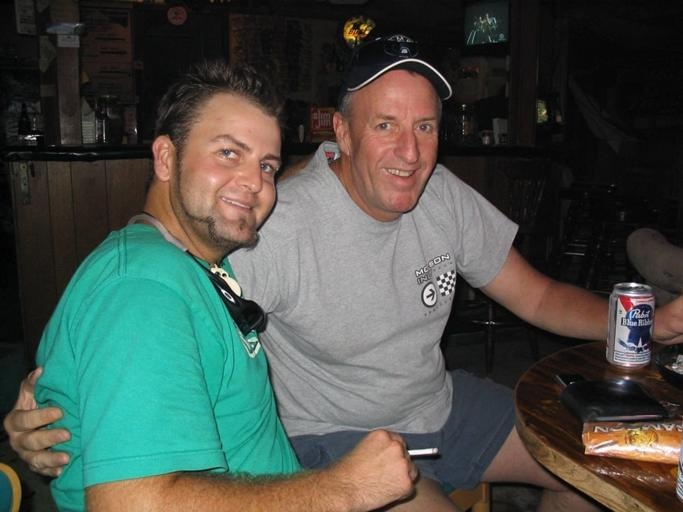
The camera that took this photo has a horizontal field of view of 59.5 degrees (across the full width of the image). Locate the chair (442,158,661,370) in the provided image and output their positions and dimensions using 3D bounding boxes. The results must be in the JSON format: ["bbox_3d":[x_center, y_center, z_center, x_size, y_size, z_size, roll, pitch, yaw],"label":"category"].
[{"bbox_3d":[1.829,0.004,5.714,1.893,2.535,1.972,2,2,21],"label":"chair"}]
